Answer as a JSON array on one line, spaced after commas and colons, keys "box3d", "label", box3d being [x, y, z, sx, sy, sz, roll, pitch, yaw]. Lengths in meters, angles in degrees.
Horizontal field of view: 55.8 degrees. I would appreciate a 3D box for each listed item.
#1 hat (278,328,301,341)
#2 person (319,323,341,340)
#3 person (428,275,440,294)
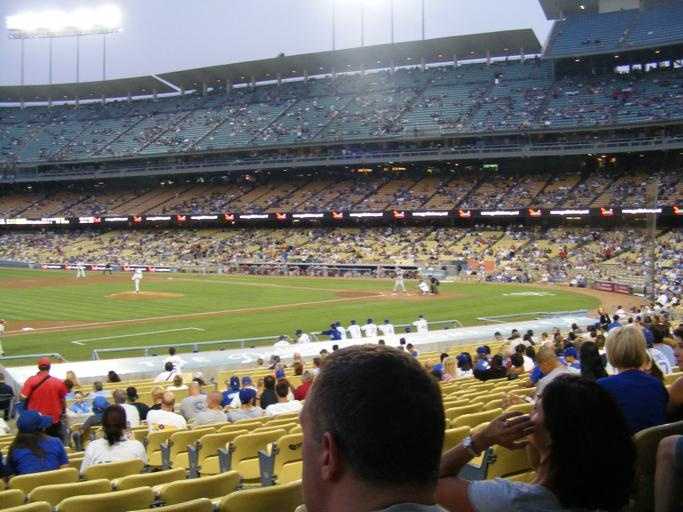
[{"box3d": [-1.885, 2.923, 23.795, 1.099, 0.270, 0.909, -2, 1, -14], "label": "hat"}, {"box3d": [-0.392, 2.833, 23.984, 1.099, 0.706, 0.314, 4, 5, -9], "label": "person"}, {"box3d": [5.943, 1.872, 41.535, 0.527, 1.123, 0.879, 25, 40, 37], "label": "person"}]
